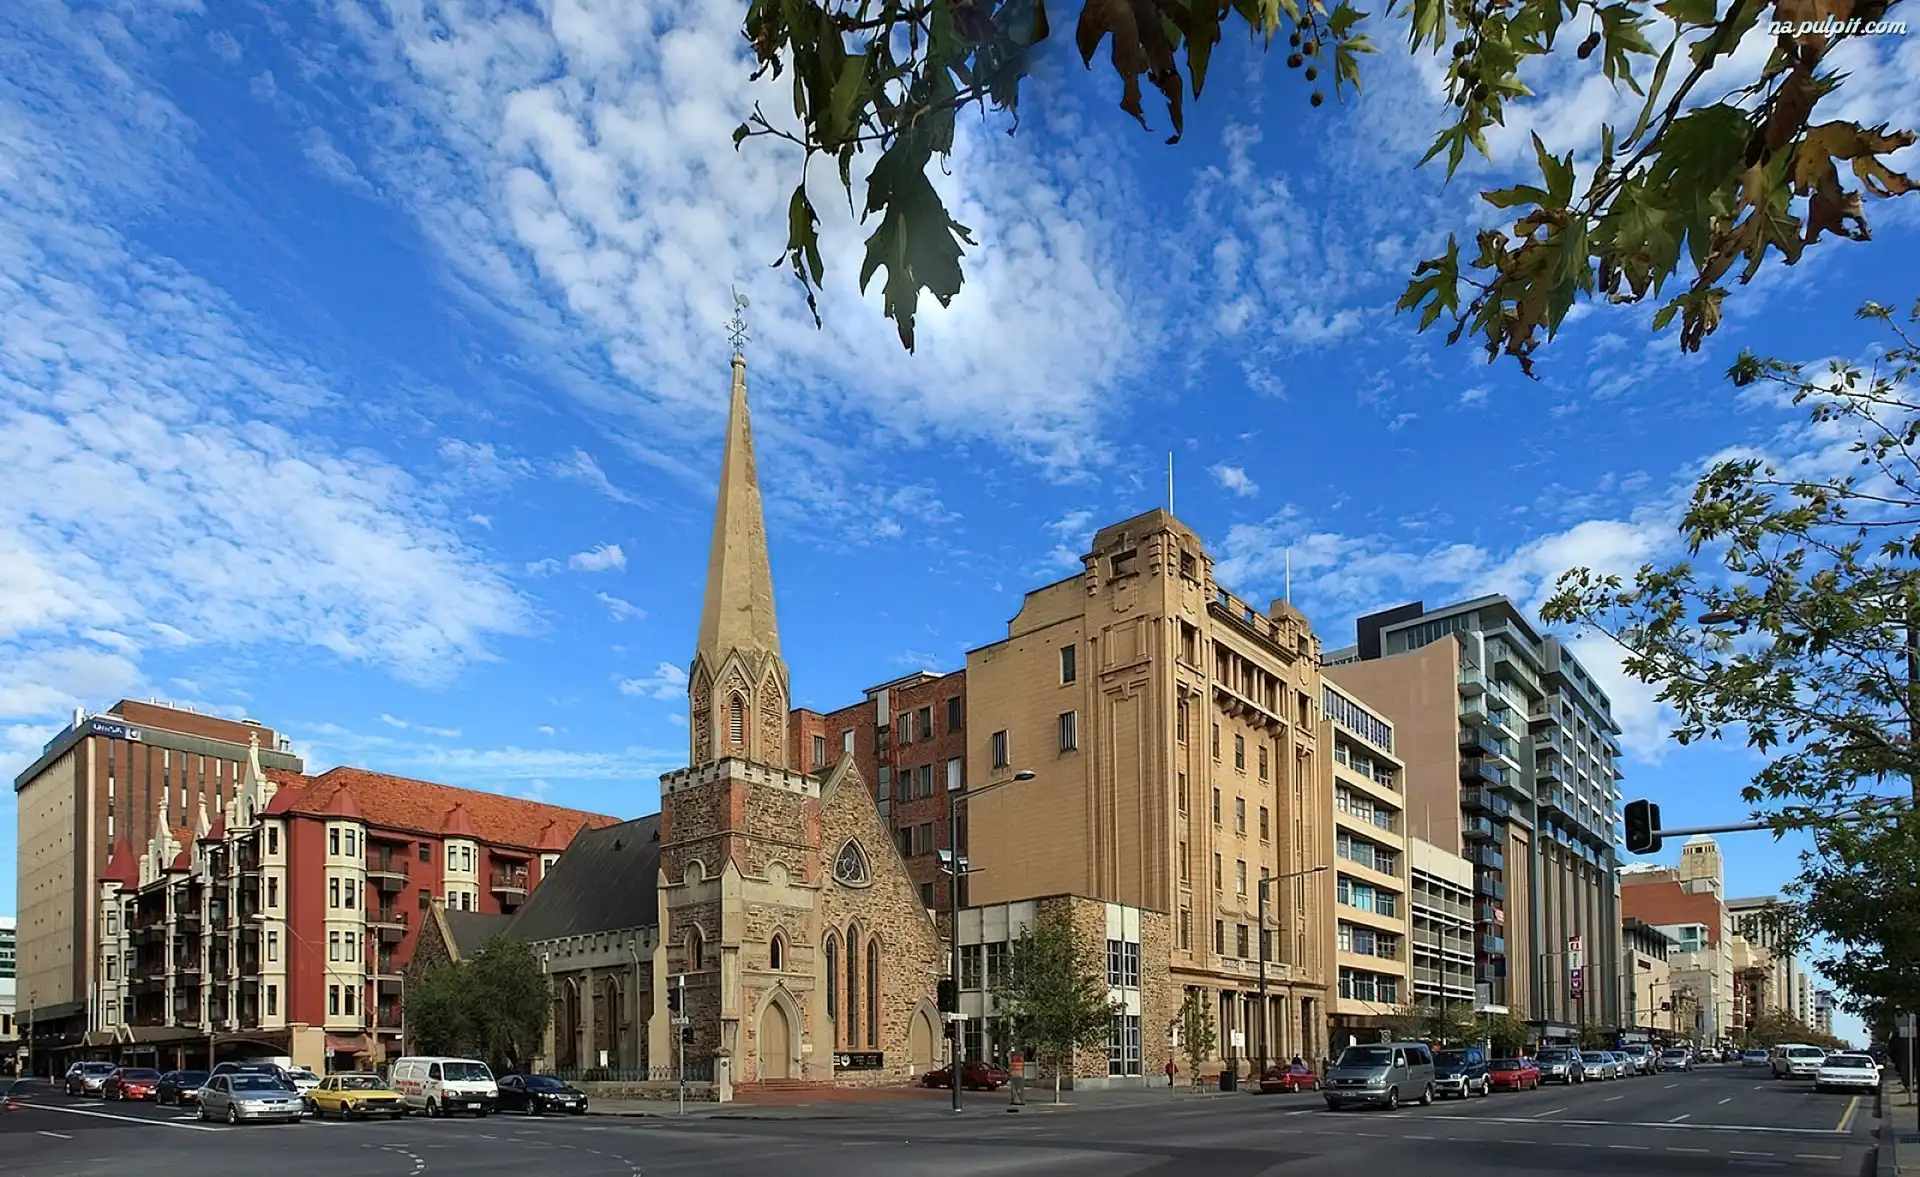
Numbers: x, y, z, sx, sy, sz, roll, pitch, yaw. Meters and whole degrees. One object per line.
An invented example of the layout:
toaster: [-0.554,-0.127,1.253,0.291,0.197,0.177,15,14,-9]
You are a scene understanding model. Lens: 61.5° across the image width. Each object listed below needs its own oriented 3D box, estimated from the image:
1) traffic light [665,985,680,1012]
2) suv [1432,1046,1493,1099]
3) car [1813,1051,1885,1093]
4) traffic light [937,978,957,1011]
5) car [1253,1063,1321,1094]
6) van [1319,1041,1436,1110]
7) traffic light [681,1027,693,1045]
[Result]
traffic light: [-14.374,20.505,81.043,0.495,1.322,2.103,8,-24,-19]
suv: [22.777,21.871,73.000,2.134,1.536,3.134,-14,-25,36]
car: [43.223,23.318,78.139,2.641,2.145,3.757,-13,-25,28]
traffic light: [-0.525,16.536,66.209,0.522,1.166,1.448,-4,-22,9]
car: [17.163,25.285,83.870,2.390,1.633,3.698,-9,-24,20]
van: [16.779,19.404,64.581,2.366,2.785,4.999,-20,-29,39]
traffic light: [-13.465,22.004,79.778,0.634,0.901,0.170,-14,-26,31]
